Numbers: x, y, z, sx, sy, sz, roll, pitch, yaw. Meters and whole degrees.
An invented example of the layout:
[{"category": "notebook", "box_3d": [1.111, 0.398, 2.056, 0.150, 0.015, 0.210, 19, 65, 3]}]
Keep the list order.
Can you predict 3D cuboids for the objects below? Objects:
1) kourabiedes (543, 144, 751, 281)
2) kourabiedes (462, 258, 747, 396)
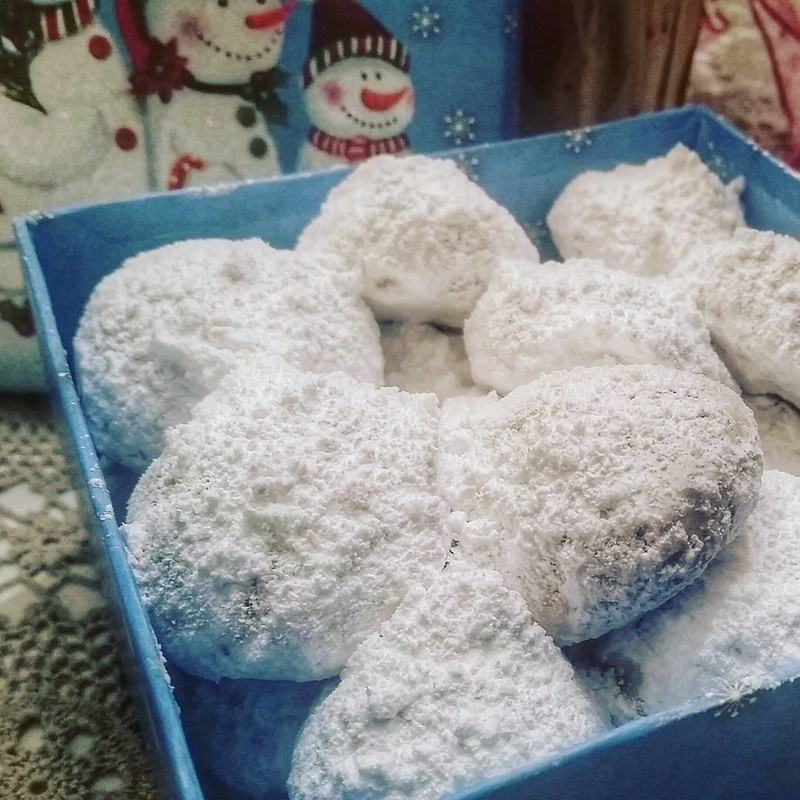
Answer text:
[{"category": "kourabiedes", "box_3d": [0.285, -0.236, 1.773, 0.182, 0.069, 0.191, 9, 48, 28]}, {"category": "kourabiedes", "box_3d": [0.219, -0.130, 1.698, 0.283, 0.098, 0.235, 6, 29, 10]}]
